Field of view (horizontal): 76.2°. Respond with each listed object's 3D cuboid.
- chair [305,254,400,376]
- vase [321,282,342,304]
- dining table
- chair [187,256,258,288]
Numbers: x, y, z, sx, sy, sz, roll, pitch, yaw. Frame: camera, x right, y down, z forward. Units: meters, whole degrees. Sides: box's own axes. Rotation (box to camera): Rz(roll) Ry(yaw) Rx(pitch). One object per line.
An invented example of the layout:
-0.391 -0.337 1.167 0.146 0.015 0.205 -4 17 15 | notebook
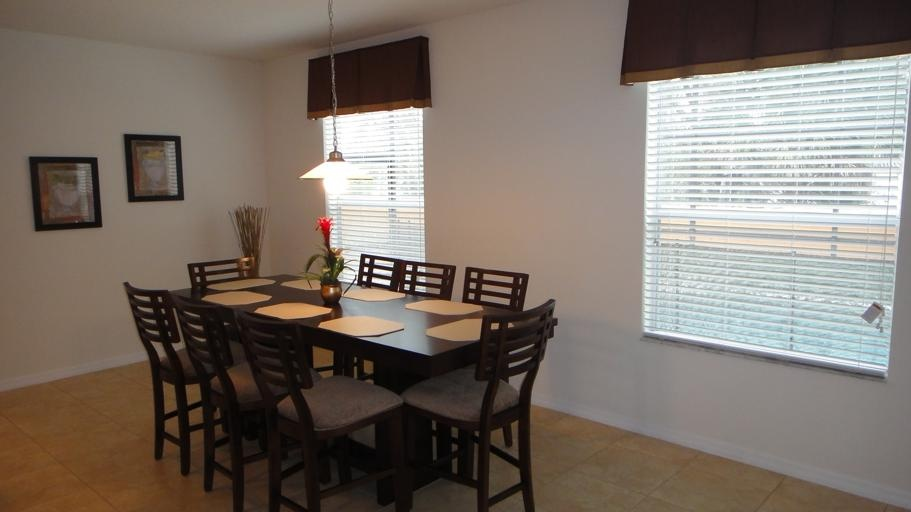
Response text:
-0.980 0.629 6.365 0.937 1.186 0.848 -19 21 -17 | chair
-1.169 0.364 5.619 0.221 0.207 0.209 0 -3 4 | vase
-0.847 1.249 5.098 2.136 0.952 0.972 3 7 42 | dining table
-2.660 0.173 6.613 0.514 0.250 0.757 2 5 38 | chair
